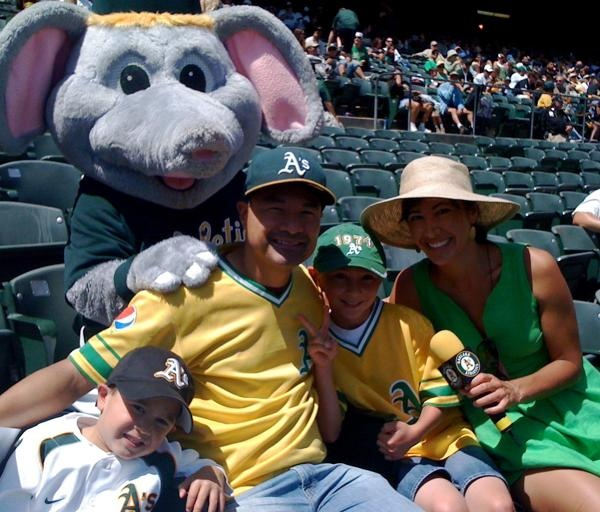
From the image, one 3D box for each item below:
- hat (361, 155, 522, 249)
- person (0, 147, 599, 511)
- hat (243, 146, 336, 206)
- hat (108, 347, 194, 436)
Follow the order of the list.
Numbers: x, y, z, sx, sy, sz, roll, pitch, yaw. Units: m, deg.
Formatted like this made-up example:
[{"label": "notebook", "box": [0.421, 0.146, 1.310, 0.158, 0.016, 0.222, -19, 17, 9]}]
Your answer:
[{"label": "hat", "box": [0.632, -0.233, 2.710, 0.491, 0.256, 0.518, 18, -28, -38]}, {"label": "person", "box": [0.279, 0.237, 2.400, 2.177, 1.331, 0.985, 8, 9, -2]}, {"label": "hat", "box": [-0.027, -0.302, 2.249, 0.340, 0.197, 0.221, 7, 10, -6]}, {"label": "hat", "box": [-0.501, 0.417, 2.000, 0.206, 0.168, 0.273, 32, -10, -27]}]
